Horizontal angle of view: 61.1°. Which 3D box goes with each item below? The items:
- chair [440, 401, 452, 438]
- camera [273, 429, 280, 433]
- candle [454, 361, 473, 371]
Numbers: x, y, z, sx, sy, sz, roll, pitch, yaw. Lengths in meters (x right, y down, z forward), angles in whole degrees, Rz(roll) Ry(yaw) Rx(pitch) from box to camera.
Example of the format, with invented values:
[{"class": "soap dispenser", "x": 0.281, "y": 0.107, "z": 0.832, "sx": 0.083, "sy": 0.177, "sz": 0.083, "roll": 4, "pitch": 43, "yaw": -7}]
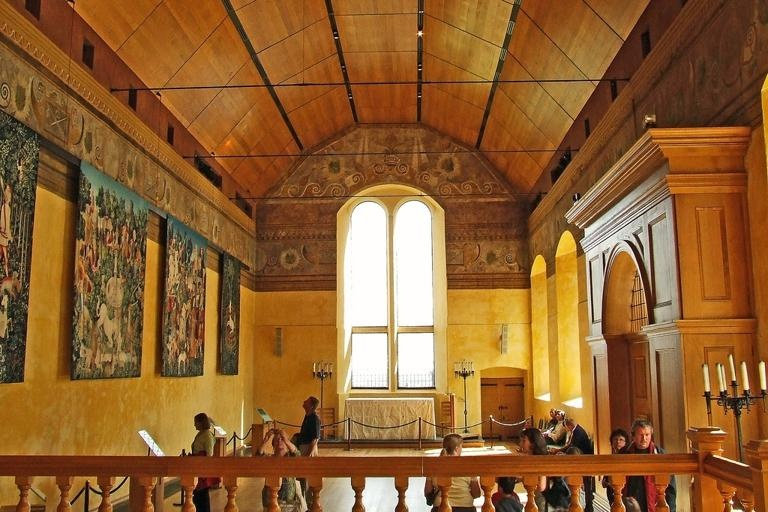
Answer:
[{"class": "chair", "x": 2.461, "y": 6.432, "z": 25.744, "sx": 0.407, "sy": 1.354, "sz": 0.815, "roll": 0, "pitch": -9, "yaw": -1}, {"class": "camera", "x": -1.986, "y": 3.282, "z": 12.097, "sx": 0.108, "sy": 0.059, "sz": 0.314, "roll": 4, "pitch": -11, "yaw": -25}, {"class": "candle", "x": 3.196, "y": 4.413, "z": 26.117, "sx": 0.724, "sy": 0.421, "sz": 0.092, "roll": -2, "pitch": -9, "yaw": 5}]
